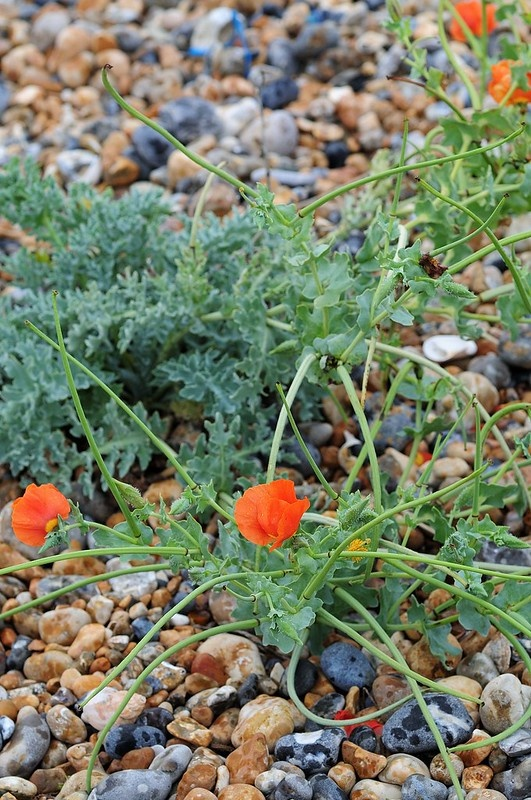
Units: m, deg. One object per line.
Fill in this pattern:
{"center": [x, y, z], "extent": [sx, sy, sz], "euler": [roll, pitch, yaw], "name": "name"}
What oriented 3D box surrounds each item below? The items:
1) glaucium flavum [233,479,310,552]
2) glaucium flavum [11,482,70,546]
{"center": [0.005, 0.122, 0.841], "extent": [0.056, 0.075, 0.086], "euler": [22, 33, 31], "name": "glaucium flavum"}
{"center": [-0.251, 0.141, 0.851], "extent": [0.084, 0.034, 0.080], "euler": [4, 41, 0], "name": "glaucium flavum"}
